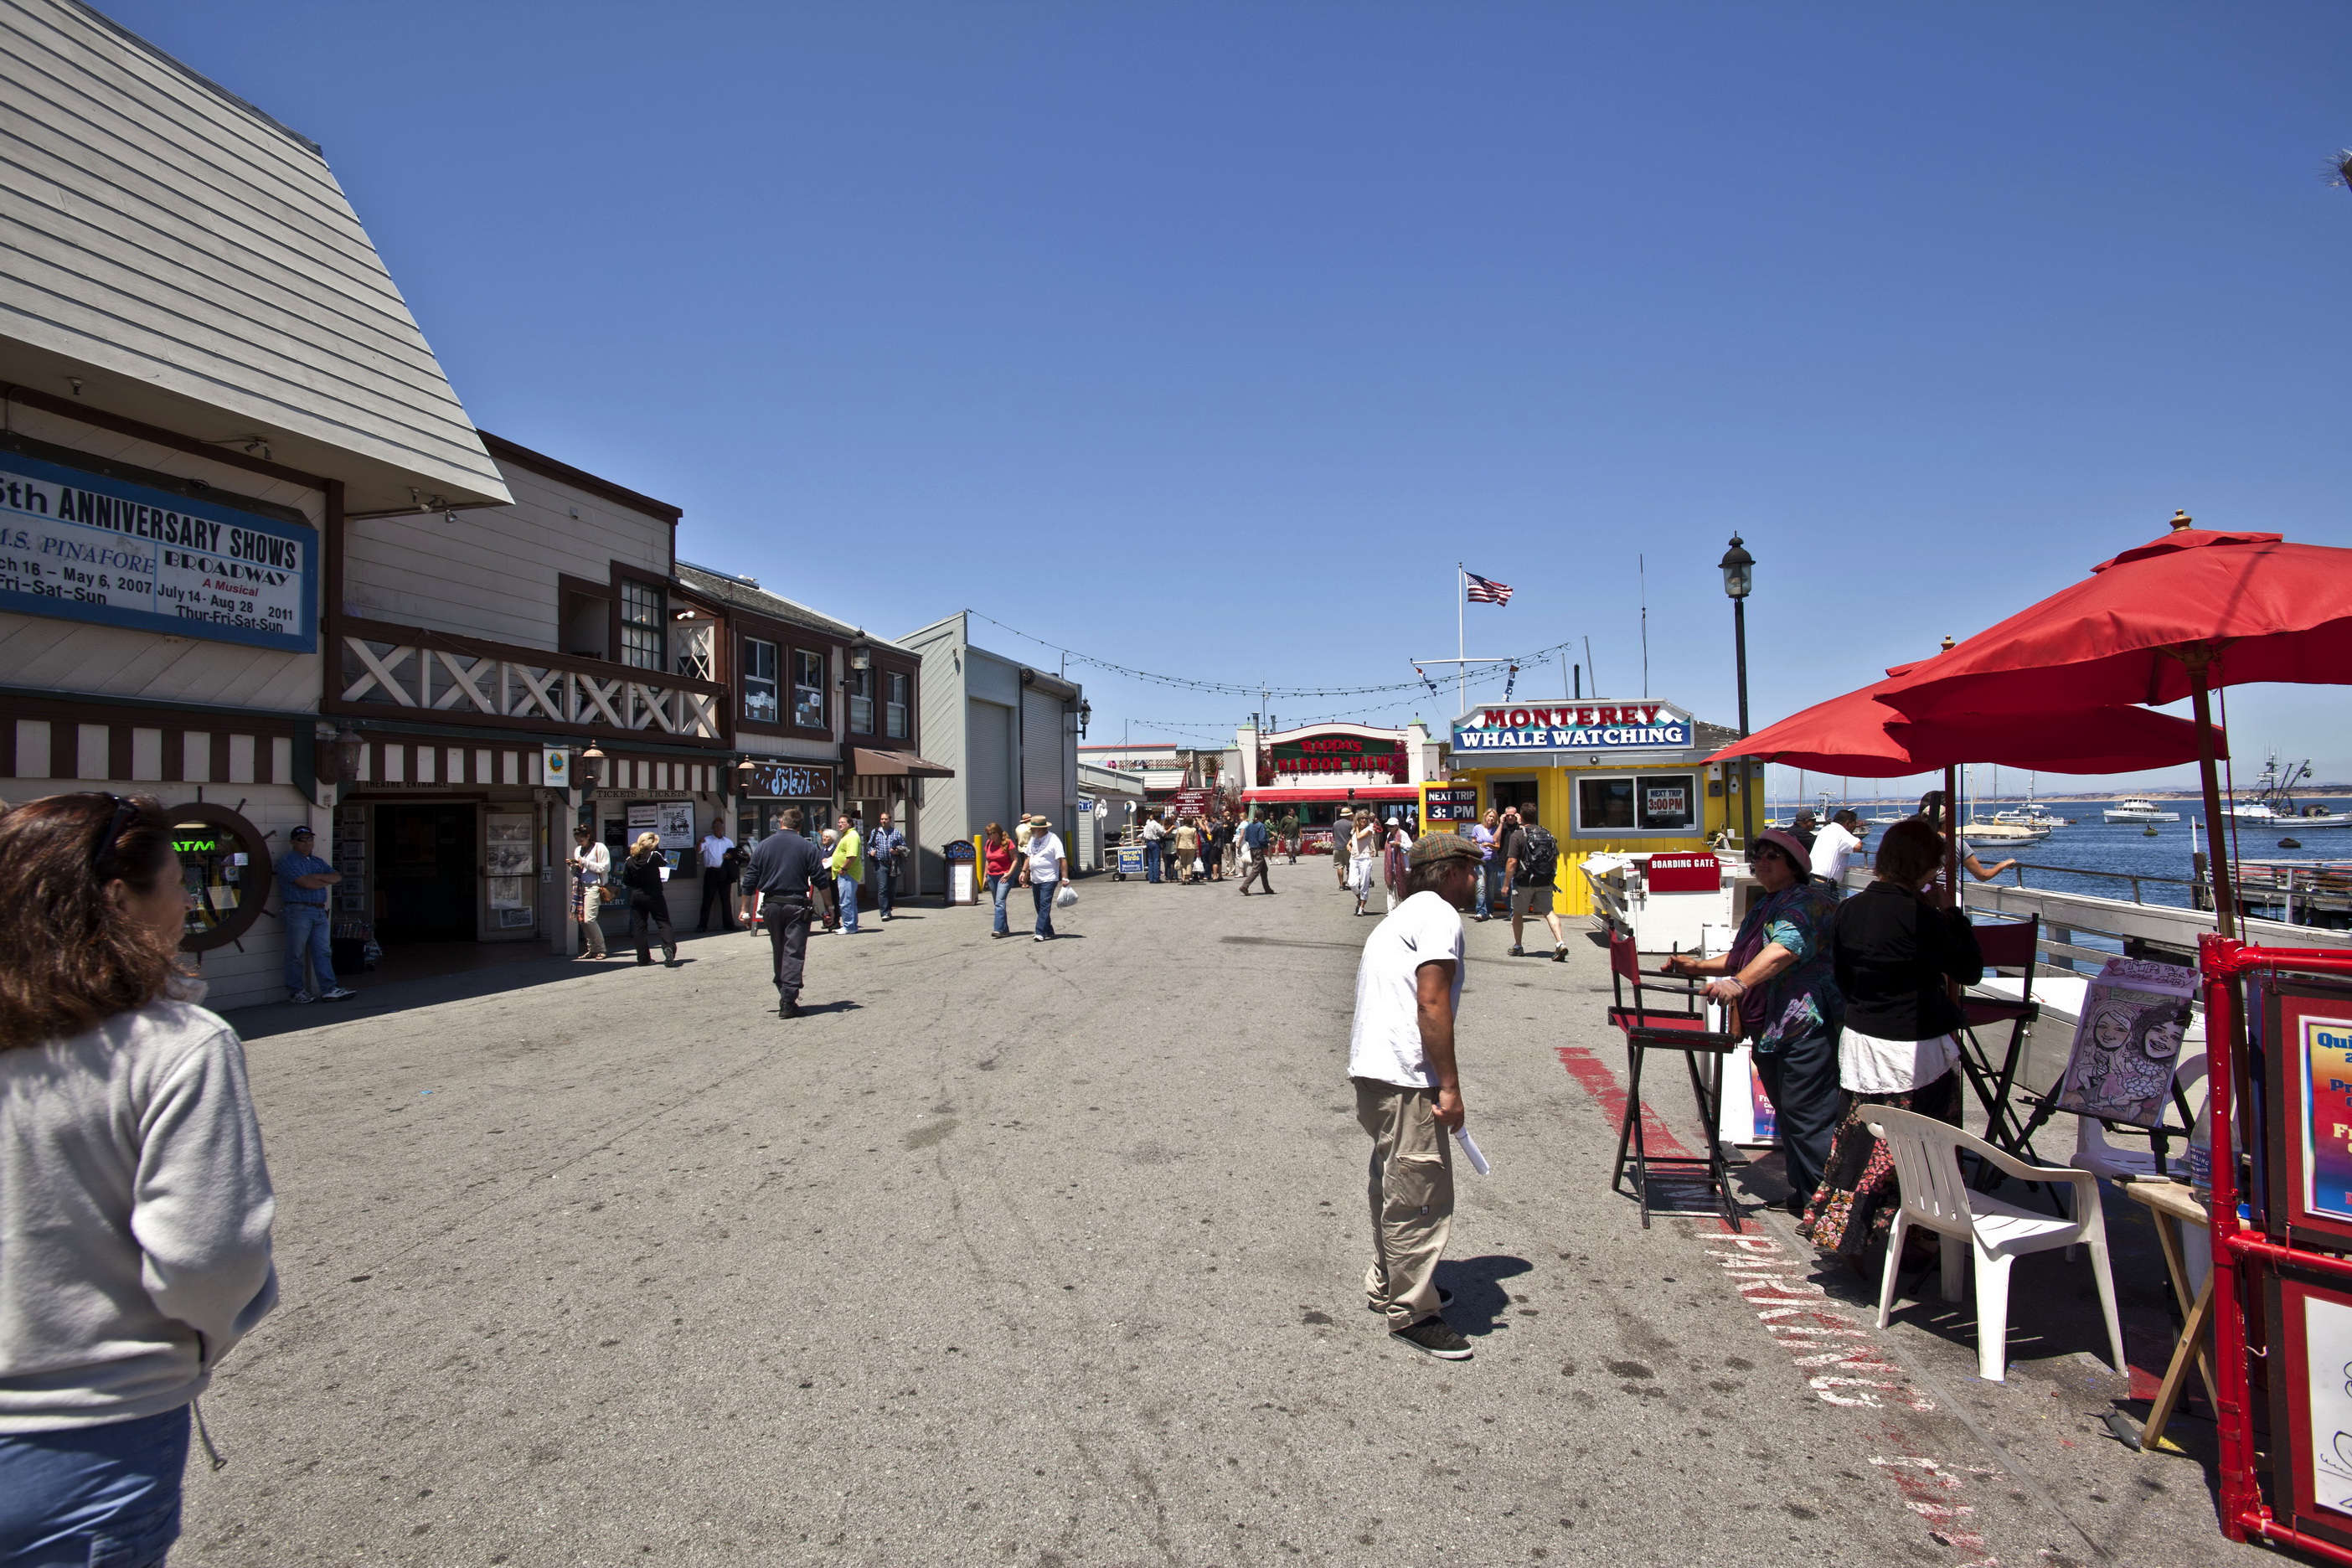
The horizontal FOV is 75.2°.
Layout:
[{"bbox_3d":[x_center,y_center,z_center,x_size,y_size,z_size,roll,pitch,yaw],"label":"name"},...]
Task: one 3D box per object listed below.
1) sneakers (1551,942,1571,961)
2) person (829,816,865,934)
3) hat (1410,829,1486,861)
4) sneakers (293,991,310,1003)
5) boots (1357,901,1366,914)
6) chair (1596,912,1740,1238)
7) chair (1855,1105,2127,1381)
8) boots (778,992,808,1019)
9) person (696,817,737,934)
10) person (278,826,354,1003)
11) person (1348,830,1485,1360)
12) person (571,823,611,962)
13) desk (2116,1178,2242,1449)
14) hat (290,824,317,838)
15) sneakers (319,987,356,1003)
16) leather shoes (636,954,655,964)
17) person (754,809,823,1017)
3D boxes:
[{"bbox_3d":[4.615,2.030,18.231,0.189,0.229,0.619,3,12,14],"label":"sneakers"},{"bbox_3d":[-4.896,1.441,22.520,0.462,1.541,0.812,-3,12,-12],"label":"person"},{"bbox_3d":[1.432,0.325,7.746,0.237,0.111,0.325,-1,-1,43],"label":"hat"},{"bbox_3d":[-8.840,2.160,15.436,0.149,0.075,0.268,-8,14,-33],"label":"sneakers"},{"bbox_3d":[3.126,2.115,25.725,0.115,0.226,0.229,0,-15,6],"label":"boots"},{"bbox_3d":[3.291,2.009,10.209,0.655,1.573,1.503,-1,-4,9],"label":"chair"},{"bbox_3d":[3.941,2.205,7.419,1.208,1.073,0.773,6,13,28],"label":"chair"},{"bbox_3d":[-3.569,2.093,14.204,0.180,0.206,0.277,2,-13,-2],"label":"boots"},{"bbox_3d":[-7.000,1.410,23.282,0.638,1.614,0.901,-4,12,-16],"label":"person"},{"bbox_3d":[-8.860,1.351,15.583,0.520,1.735,0.776,-6,13,-26],"label":"person"},{"bbox_3d":[1.165,1.505,7.529,0.575,2.362,0.904,2,12,8],"label":"person"},{"bbox_3d":[-7.487,1.512,19.539,0.407,1.570,1.241,-5,13,-22],"label":"person"},{"bbox_3d":[4.567,2.352,6.996,0.405,1.050,0.938,6,13,28],"label":"desk"},{"bbox_3d":[-8.912,0.518,15.575,0.157,0.089,0.220,5,7,-5],"label":"hat"},{"bbox_3d":[-8.666,2.178,15.734,0.264,0.121,0.097,0,-2,-26],"label":"sneakers"},{"bbox_3d":[-6.497,2.150,18.618,0.125,0.175,0.177,-2,-3,13],"label":"leather shoes"},{"bbox_3d":[-3.710,1.207,14.648,0.743,1.861,0.771,-1,-10,-4],"label":"person"}]
